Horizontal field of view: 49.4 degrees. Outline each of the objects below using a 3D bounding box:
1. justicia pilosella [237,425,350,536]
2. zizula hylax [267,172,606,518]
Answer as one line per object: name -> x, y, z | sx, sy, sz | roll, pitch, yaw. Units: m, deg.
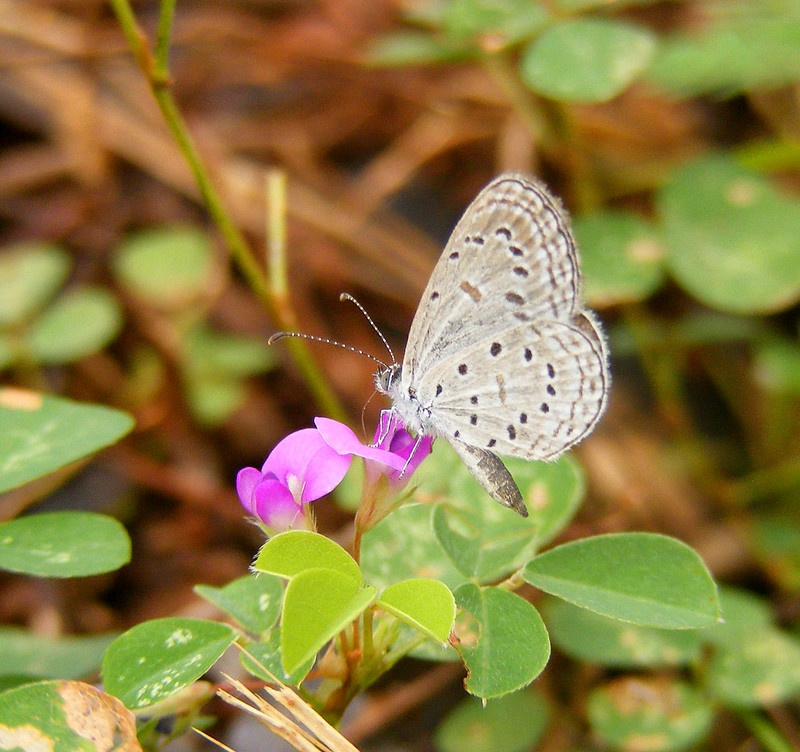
justicia pilosella -> -0.246, 0.235, 2.111 | 0.253, 0.394, 0.179 | 6, 78, 19
zizula hylax -> 0.310, -0.081, 2.355 | 0.589, 0.413, 0.753 | 31, 76, 12
